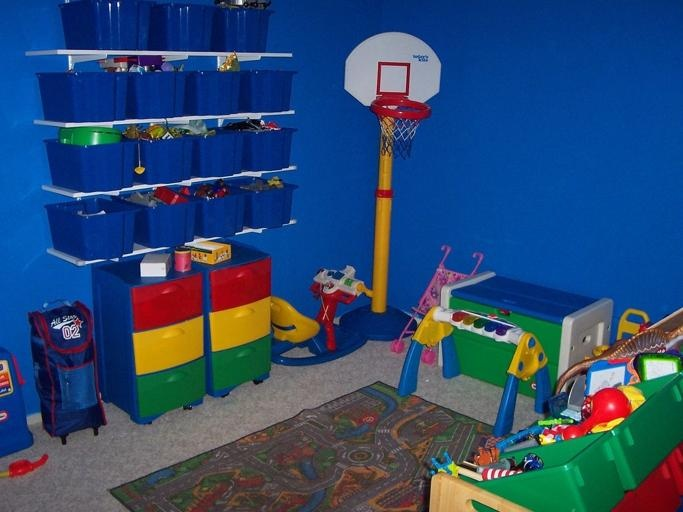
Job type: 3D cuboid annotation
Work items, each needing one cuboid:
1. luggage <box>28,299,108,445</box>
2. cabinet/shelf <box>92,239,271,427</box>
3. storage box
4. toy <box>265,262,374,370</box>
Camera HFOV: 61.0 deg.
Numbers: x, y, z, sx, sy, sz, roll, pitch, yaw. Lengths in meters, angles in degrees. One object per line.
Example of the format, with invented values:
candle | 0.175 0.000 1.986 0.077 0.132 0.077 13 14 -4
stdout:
luggage | -1.574 0.667 3.336 0.327 0.727 0.371 -9 24 -27
cabinet/shelf | -1.009 0.468 3.509 0.985 0.843 0.539 -15 25 -37
storage box | -1.089 -0.706 3.333 0.490 1.312 1.613 19 25 40
toy | -0.224 0.427 4.426 0.839 0.521 0.647 -11 19 -35
